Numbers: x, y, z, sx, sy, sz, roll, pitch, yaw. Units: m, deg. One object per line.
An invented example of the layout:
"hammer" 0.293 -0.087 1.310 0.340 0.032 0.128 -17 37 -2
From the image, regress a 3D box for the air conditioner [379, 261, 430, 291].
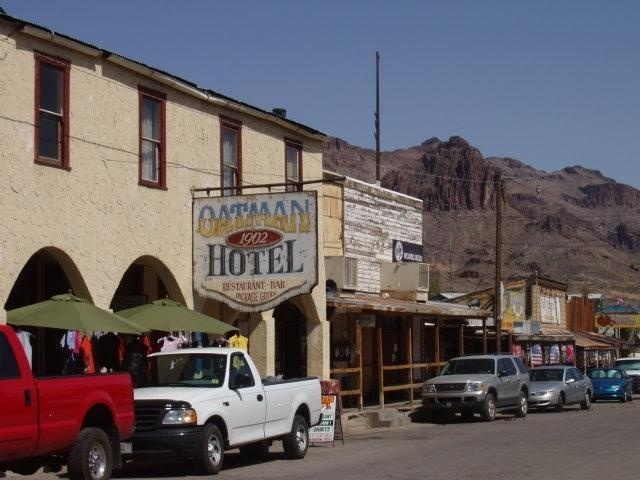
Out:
"air conditioner" 3.166 1.405 36.150 1.319 1.258 1.301 -8 -10 29

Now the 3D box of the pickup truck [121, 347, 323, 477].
"pickup truck" -2.022 3.249 18.576 1.632 2.215 4.497 -3 -7 27

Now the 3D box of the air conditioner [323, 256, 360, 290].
"air conditioner" 0.615 1.233 31.590 0.894 1.019 0.709 1 -23 -18

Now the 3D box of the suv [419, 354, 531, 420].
"suv" 5.113 4.672 30.917 2.136 2.180 4.530 -6 -9 34

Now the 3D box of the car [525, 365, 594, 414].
"car" 8.483 5.329 34.940 1.803 1.636 4.062 -7 -9 42

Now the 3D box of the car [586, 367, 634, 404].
"car" 12.036 5.939 39.817 1.170 1.012 2.773 -3 -12 14
